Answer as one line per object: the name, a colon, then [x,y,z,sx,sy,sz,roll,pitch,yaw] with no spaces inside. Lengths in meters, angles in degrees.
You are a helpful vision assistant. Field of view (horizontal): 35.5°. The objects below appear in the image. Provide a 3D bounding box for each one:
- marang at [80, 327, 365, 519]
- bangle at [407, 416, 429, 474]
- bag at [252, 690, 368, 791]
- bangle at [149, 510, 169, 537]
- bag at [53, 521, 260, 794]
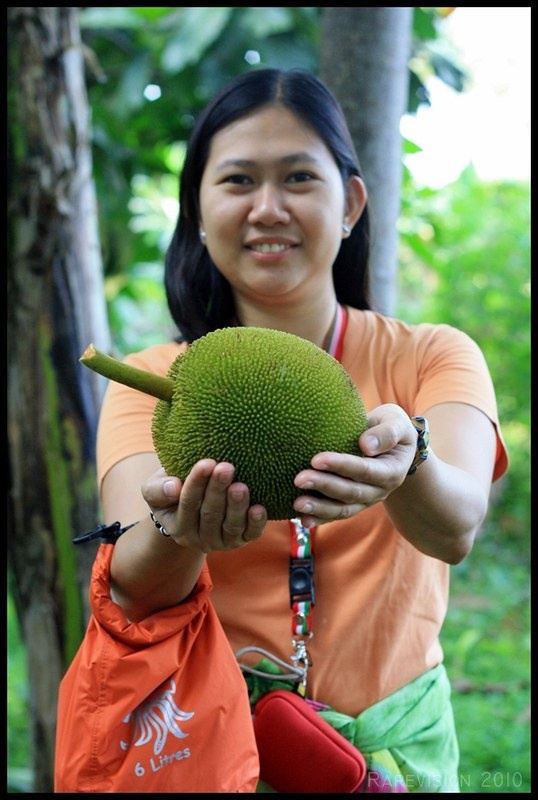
marang: [-0.089,-0.014,1.751,0.551,0.271,0.374,19,20,22]
bangle: [0.315,0.100,1.747,0.041,0.115,0.075,2,7,11]
bag: [0.084,0.767,1.872,0.196,0.174,0.064,33,28,12]
bangle: [-0.229,0.263,1.764,0.053,0.016,0.059,28,-10,11]
bag: [-0.228,0.566,1.795,0.406,0.487,0.264,0,7,-1]
